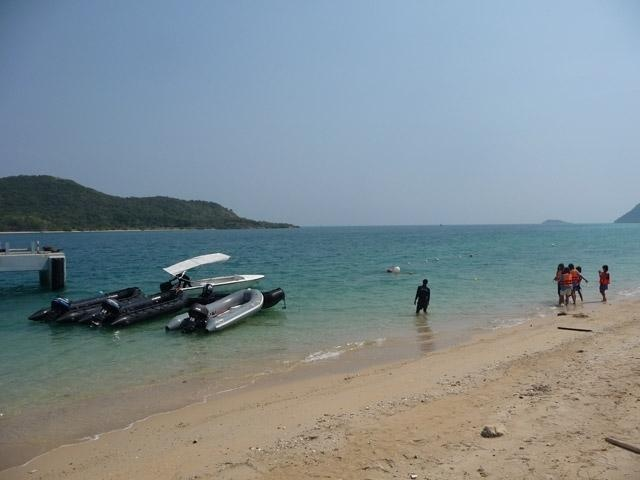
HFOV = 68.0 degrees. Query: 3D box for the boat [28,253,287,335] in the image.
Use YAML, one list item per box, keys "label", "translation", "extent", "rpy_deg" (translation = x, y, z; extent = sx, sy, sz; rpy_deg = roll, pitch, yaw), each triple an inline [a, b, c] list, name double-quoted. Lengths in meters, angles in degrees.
- label: "boat"
  translation: [-6.810, 2.542, 23.472]
  extent: [8.492, 2.635, 8.098]
  rpy_deg: [-3, 7, 17]
